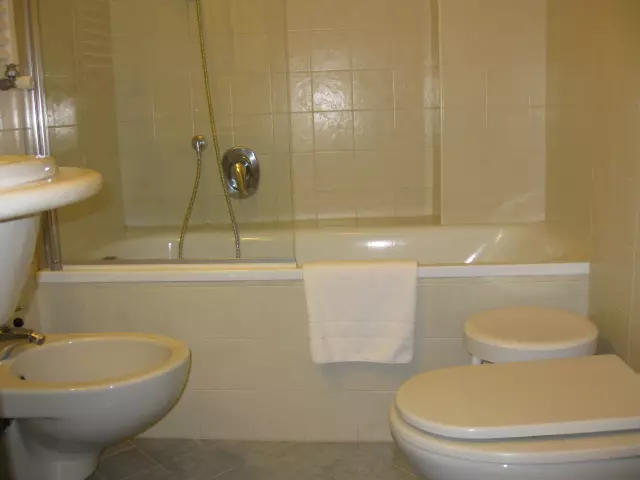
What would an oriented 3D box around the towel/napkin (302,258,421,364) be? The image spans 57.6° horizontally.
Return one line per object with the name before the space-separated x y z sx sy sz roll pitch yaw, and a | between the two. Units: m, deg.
towel/napkin | 0.170 0.283 2.329 0.376 0.360 0.166 -1 5 4
